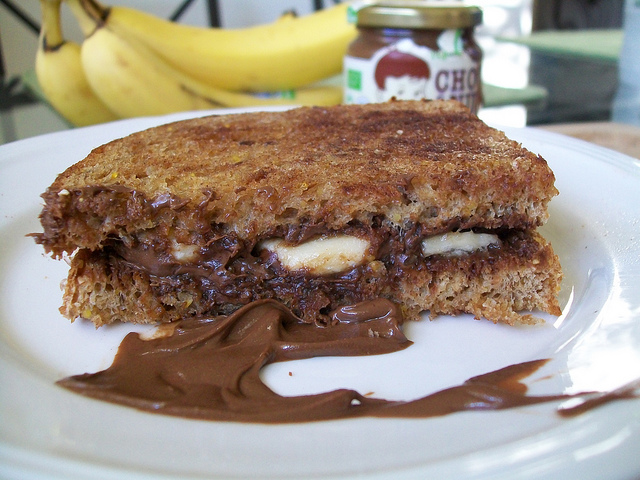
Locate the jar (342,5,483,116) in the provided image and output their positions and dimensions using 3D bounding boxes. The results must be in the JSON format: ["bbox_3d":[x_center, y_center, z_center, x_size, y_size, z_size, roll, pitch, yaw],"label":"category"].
[{"bbox_3d":[0.421,-0.782,3.067,0.499,0.462,0.490,0,14,0],"label":"jar"}]

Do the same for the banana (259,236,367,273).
[{"bbox_3d":[-0.020,0.048,2.135,0.331,0.087,0.087,-1,38,4],"label":"banana"}]

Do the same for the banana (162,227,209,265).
[{"bbox_3d":[-0.420,0.021,2.108,0.095,0.130,0.034,-48,16,8],"label":"banana"}]
